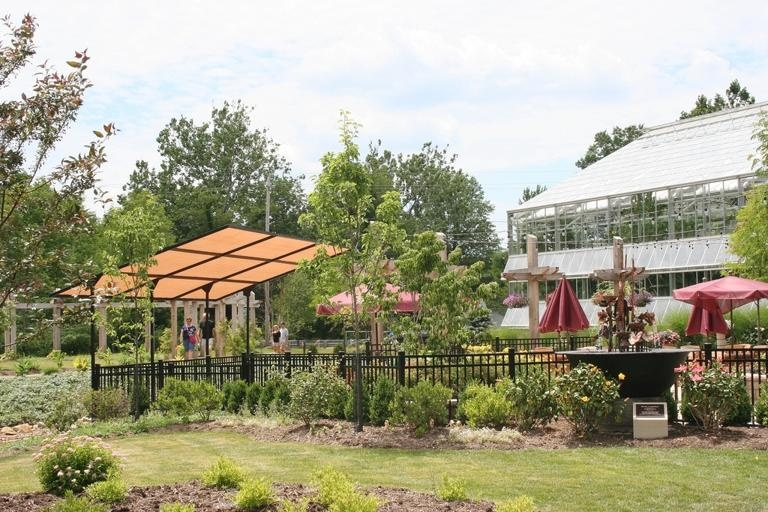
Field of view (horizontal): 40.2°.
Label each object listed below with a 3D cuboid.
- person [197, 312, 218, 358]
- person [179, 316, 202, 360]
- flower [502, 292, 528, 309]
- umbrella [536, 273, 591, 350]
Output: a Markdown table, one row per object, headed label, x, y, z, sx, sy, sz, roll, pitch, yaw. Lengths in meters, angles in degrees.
| label | x | y | z | sx | sy | sz | roll | pitch | yaw |
| --- | --- | --- | --- | --- | --- | --- | --- | --- | --- |
| person | -6.762 | 3.119 | 40.239 | 0.592 | 2.061 | 0.471 | -3 | 29 | -10 |
| person | -7.050 | 3.045 | 38.117 | 0.558 | 1.500 | 1.831 | 1 | -10 | -11 |
| flower | 5.183 | 1.750 | 40.040 | 0.921 | 0.746 | 1.003 | 4 | 5 | 42 |
| umbrella | 6.002 | 1.746 | 32.439 | 1.853 | 2.516 | 1.727 | -1 | -3 | -2 |
